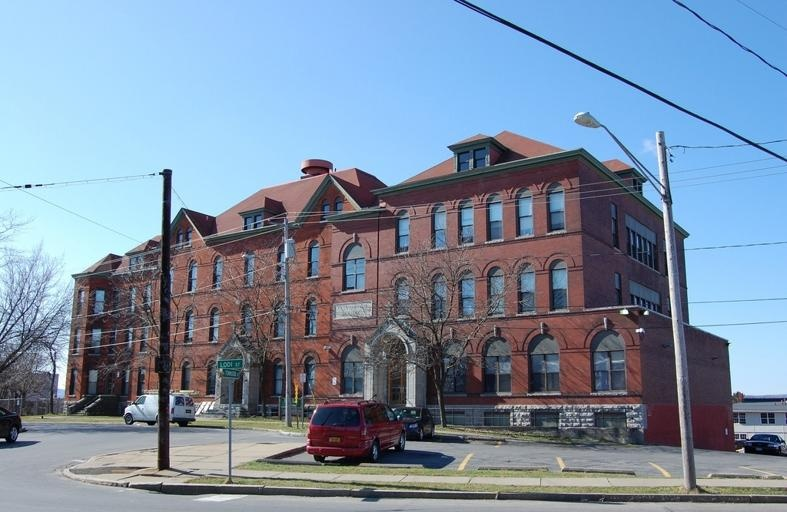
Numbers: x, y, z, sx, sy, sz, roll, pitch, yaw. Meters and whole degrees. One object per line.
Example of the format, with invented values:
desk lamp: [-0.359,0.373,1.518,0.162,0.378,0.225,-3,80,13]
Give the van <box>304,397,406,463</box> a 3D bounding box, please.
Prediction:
van: [-1.325,7.994,36.586,2.331,1.567,4.385,-4,-8,23]

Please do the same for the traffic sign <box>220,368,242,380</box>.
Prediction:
traffic sign: [-6.691,4.792,32.450,0.877,0.441,1.096,3,-17,-12]

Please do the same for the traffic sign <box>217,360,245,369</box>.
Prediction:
traffic sign: [-6.642,4.408,32.383,1.109,0.397,0.175,-2,-2,28]

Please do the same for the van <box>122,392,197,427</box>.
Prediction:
van: [-16.116,10.573,54.148,2.973,2.390,6.752,13,-21,-38]
